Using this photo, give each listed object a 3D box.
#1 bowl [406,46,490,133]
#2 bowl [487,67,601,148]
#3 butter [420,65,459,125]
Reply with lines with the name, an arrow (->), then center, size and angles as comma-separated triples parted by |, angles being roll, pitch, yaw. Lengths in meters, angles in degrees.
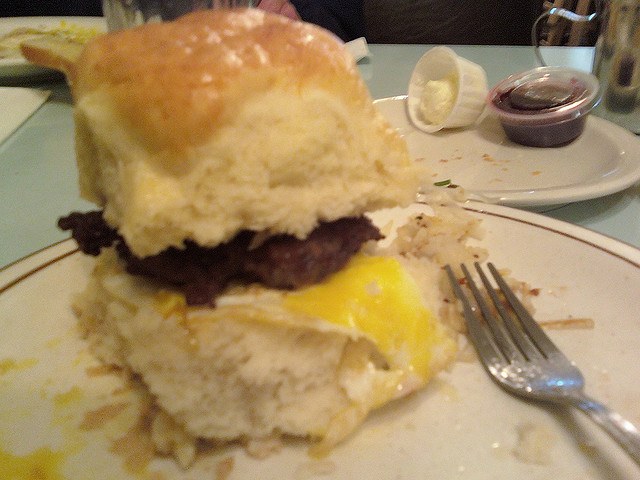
bowl -> 0.424, -0.504, 1.929 | 0.169, 0.332, 0.325 | 7, 76, -25
bowl -> 0.720, -0.427, 1.798 | 0.346, 0.125, 0.335 | -11, 37, 8
butter -> 0.418, -0.489, 1.915 | 0.165, 0.199, 0.110 | -9, 18, -1
